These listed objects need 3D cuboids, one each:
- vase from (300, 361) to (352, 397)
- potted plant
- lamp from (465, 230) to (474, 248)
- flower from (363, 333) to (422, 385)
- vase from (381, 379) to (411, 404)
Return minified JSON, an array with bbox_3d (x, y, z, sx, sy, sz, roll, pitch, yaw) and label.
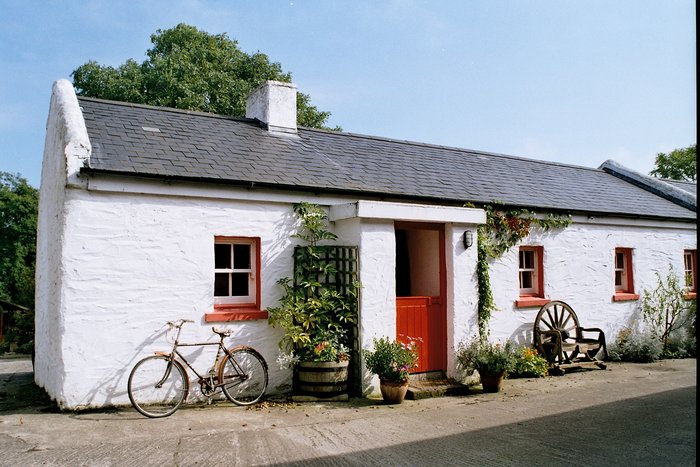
[{"bbox_3d":[-0.515,3.025,12.440,0.930,0.570,0.932,-10,-18,32],"label":"vase"},{"bbox_3d":[3.108,2.883,13.133,1.066,1.010,0.939,7,-6,-12],"label":"potted plant"},{"bbox_3d":[2.687,0.114,13.439,0.284,0.415,0.084,-1,4,-24],"label":"lamp"},{"bbox_3d":[0.917,2.605,12.351,1.211,0.818,1.073,-7,-8,33],"label":"flower"},{"bbox_3d":[0.926,3.157,11.930,0.491,0.356,0.494,6,-12,-37],"label":"vase"}]
